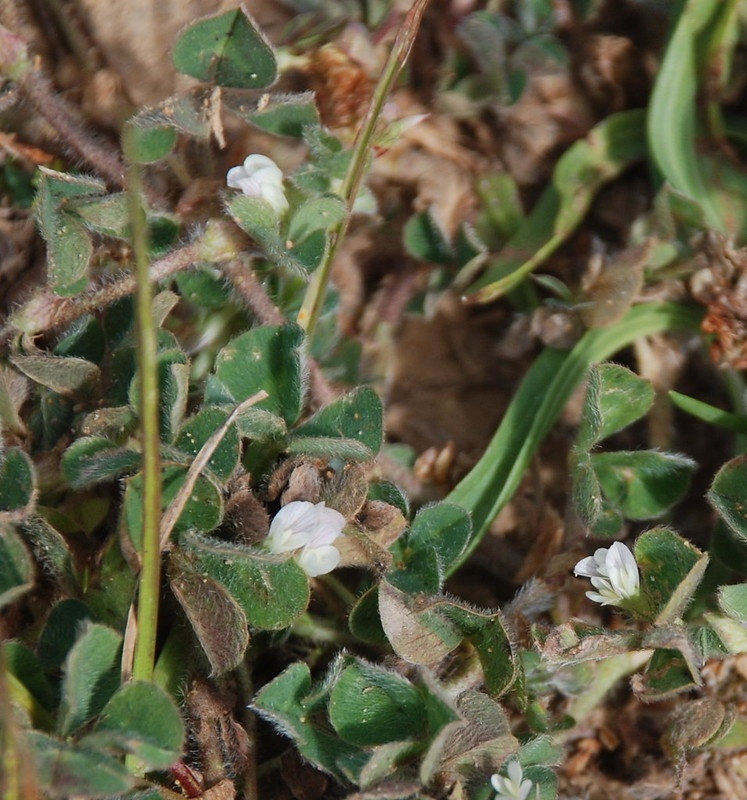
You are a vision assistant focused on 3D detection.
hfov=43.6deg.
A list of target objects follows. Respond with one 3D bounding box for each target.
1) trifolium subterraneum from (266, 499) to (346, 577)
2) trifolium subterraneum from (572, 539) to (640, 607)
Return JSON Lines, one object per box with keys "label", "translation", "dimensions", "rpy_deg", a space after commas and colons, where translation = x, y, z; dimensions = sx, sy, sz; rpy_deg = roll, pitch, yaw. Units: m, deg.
{"label": "trifolium subterraneum", "translation": [-0.063, 0.123, 0.850], "dimensions": [0.068, 0.038, 0.060], "rpy_deg": [6, 52, 3]}
{"label": "trifolium subterraneum", "translation": [0.225, 0.163, 0.873], "dimensions": [0.064, 0.034, 0.063], "rpy_deg": [-3, 39, 36]}
